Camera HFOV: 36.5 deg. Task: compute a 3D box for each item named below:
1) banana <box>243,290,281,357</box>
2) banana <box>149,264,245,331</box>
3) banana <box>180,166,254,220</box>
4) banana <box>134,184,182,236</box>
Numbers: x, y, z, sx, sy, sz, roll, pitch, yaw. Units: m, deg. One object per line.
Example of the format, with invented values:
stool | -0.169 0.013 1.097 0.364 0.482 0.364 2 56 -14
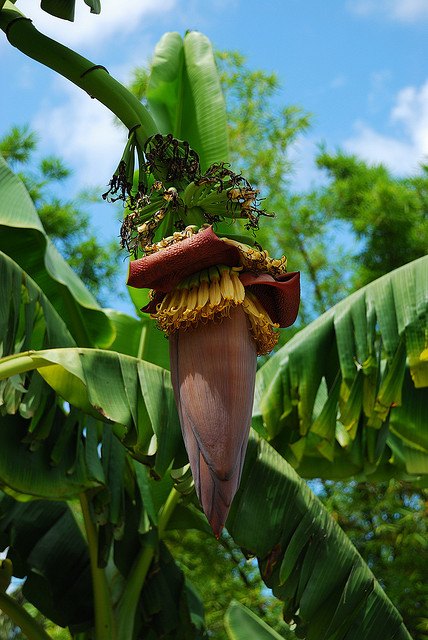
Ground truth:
banana | 0.084 0.009 1.471 0.068 0.077 0.155 -5 51 -30
banana | -0.042 -0.035 1.404 0.167 0.056 0.138 -34 12 12
banana | -0.041 -0.298 1.541 0.172 0.068 0.180 -16 4 -12
banana | -0.131 -0.261 1.541 0.042 0.151 0.056 37 3 -1
